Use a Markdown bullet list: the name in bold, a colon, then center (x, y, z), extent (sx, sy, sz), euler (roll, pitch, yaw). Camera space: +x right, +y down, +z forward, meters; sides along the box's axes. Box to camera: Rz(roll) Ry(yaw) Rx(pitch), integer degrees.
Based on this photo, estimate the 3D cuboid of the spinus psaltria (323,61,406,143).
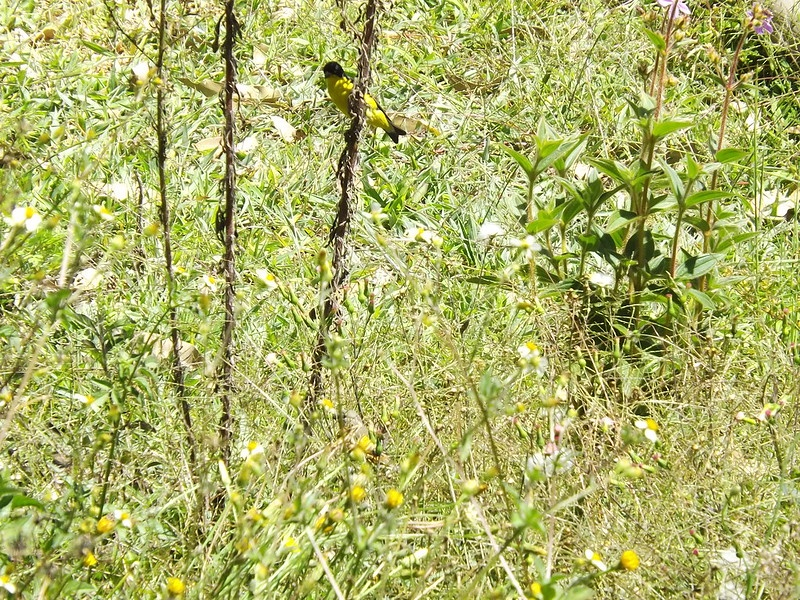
- **spinus psaltria**: center (-0.138, -0.721, 3.493), extent (0.360, 0.120, 0.248), euler (18, 66, -30)
